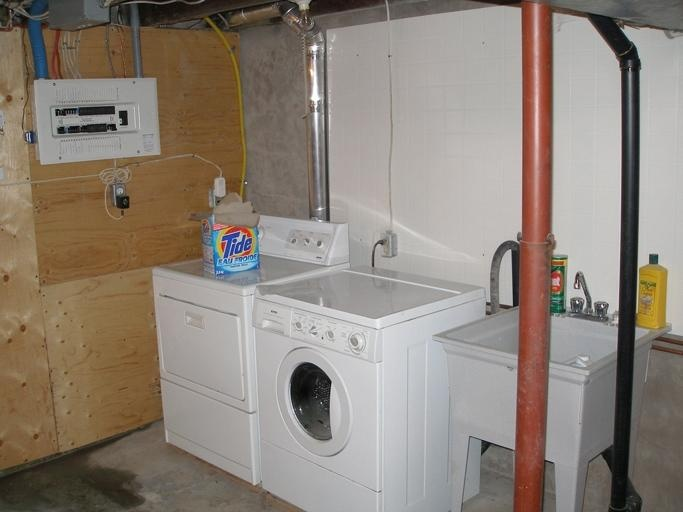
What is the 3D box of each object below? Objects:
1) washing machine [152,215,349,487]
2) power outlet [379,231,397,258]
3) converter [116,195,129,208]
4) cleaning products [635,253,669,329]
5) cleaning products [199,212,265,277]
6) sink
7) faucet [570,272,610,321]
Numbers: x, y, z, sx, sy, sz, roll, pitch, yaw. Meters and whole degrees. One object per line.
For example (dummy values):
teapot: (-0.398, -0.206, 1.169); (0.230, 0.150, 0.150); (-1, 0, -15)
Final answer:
washing machine: (-0.505, 0.469, 3.564); (0.938, 1.498, 1.095); (7, 11, 42)
power outlet: (0.281, -0.069, 3.390); (0.073, 0.142, 0.096); (-13, 17, -36)
converter: (-1.296, -0.318, 3.454); (0.065, 0.096, 0.071); (-7, 12, -44)
cleaning products: (1.293, 0.150, 2.436); (0.091, 0.305, 0.117); (-14, 18, -24)
cleaning products: (-0.600, -0.088, 3.252); (0.292, 0.343, 0.311); (-7, 10, -37)
sink: (0.875, 0.471, 2.468); (0.724, 0.582, 0.670); (7, 12, 42)
faucet: (1.107, 0.178, 2.578); (0.054, 0.206, 0.183); (-16, 7, -21)
